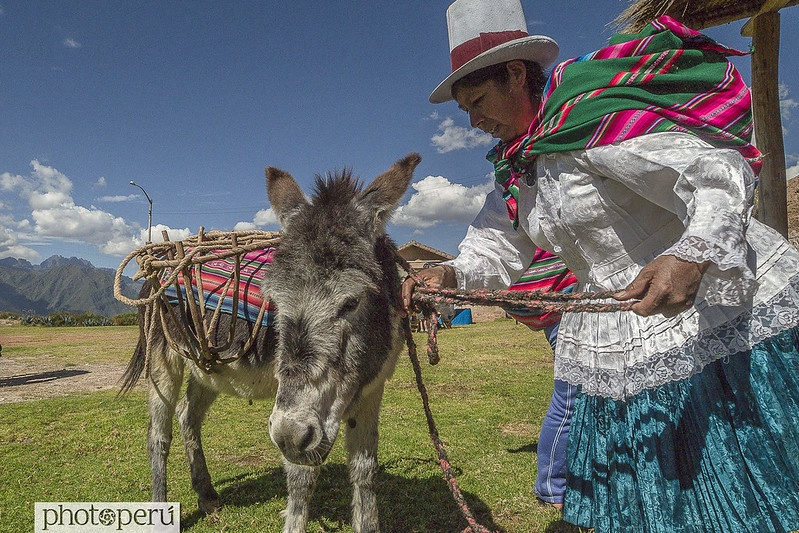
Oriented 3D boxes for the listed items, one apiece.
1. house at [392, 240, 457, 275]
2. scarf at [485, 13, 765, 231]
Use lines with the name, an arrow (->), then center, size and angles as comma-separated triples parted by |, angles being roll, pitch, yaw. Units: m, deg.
house -> 0.684, -0.251, 14.375 | 1.694, 0.840, 2.345 | 1, -6, -3
scarf -> 1.347, -0.916, 3.747 | 1.938, 1.085, 1.868 | -5, 4, 40
